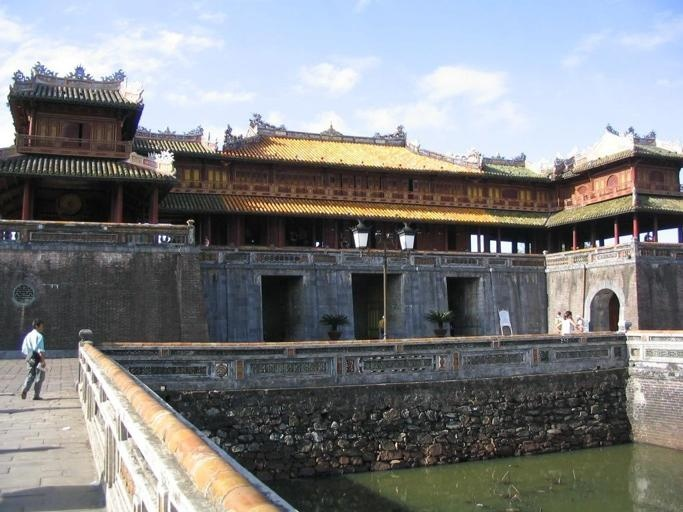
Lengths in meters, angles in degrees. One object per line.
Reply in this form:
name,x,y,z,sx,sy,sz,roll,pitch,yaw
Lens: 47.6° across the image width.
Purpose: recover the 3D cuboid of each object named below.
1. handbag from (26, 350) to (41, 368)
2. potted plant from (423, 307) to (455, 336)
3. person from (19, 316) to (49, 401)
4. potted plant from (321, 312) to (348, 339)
handbag,-7.223,2.424,18.096,0.332,0.383,0.271,4,-3,16
potted plant,4.291,2.964,34.421,1.196,1.100,1.237,-1,-8,19
person,-7.313,2.493,18.386,0.476,1.770,1.548,1,8,-21
potted plant,-0.342,2.971,32.514,0.992,0.903,1.003,10,-18,-28
